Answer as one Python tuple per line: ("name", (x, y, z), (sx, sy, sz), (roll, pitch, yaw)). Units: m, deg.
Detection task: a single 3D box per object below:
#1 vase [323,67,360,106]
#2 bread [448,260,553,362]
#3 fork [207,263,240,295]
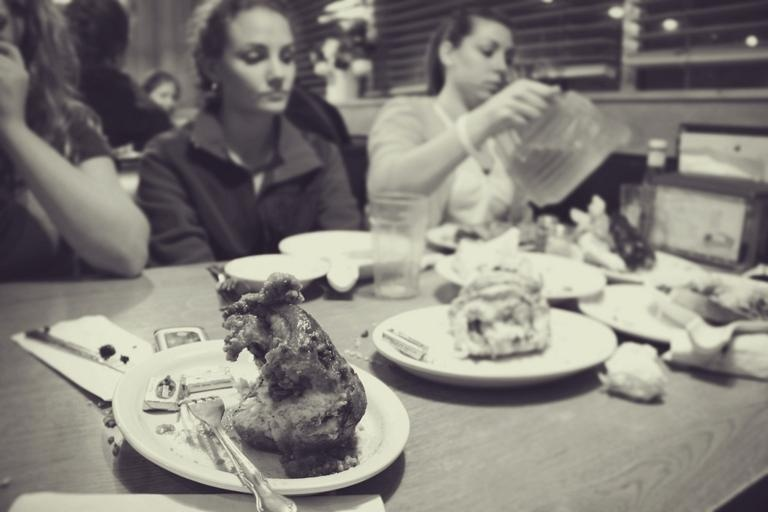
("vase", (-0.128, -0.514, 2.257), (0.100, 0.111, 0.096), (26, 43, 27))
("bread", (0.221, 0.115, 1.458), (0.174, 0.178, 0.065), (3, -10, 0))
("fork", (-0.367, 0.043, 1.680), (0.049, 0.024, 0.093), (-25, 32, -19))
